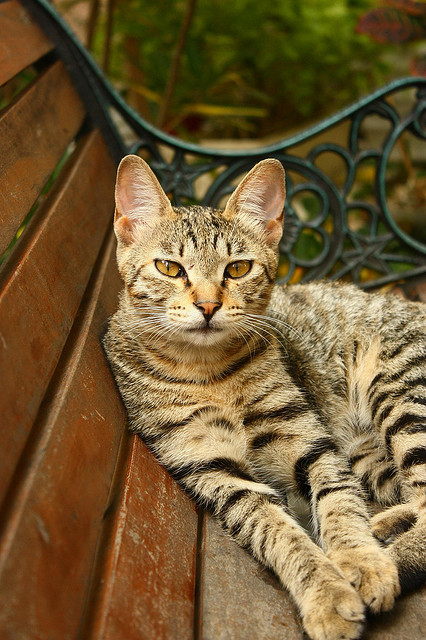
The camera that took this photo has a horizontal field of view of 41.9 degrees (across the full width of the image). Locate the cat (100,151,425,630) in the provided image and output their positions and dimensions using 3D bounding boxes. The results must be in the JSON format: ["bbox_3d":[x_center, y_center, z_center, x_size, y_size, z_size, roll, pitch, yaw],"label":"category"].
[{"bbox_3d":[0.158,0.038,1.866,0.687,0.664,1.689,4,33,-14],"label":"cat"}]
